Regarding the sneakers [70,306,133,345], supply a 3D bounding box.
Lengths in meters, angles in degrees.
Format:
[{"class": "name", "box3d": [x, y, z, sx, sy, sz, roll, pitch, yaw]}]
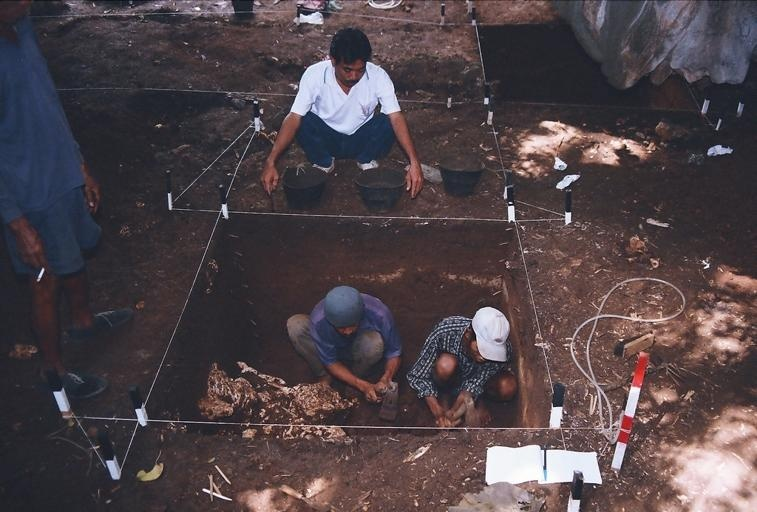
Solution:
[{"class": "sneakers", "box3d": [-2.542, 0.633, 6.220, 0.574, 0.204, 0.206, -26, 52, -34]}]

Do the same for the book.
[{"class": "book", "box3d": [1.334, 1.793, 5.627, 0.791, 0.064, 0.315, 1, 69, 4]}]

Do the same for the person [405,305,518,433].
[{"class": "person", "box3d": [0.870, 0.954, 6.240, 0.976, 1.154, 1.058, 17, 36, 6]}]

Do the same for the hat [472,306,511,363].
[{"class": "hat", "box3d": [1.023, 0.747, 6.048, 0.320, 0.491, 0.337, 0, 41, 3]}]

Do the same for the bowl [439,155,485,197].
[{"class": "bowl", "box3d": [0.933, -0.939, 7.473, 0.491, 0.323, 0.485, -1, 35, 0]}]

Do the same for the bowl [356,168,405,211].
[{"class": "bowl", "box3d": [0.022, -0.766, 7.283, 0.474, 0.274, 0.481, -1, 40, 1]}]

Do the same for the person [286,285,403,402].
[{"class": "person", "box3d": [-0.270, 0.739, 6.345, 1.132, 1.172, 0.670, 18, 44, 21]}]

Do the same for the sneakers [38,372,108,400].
[{"class": "sneakers", "box3d": [-2.563, 1.120, 5.767, 0.627, 0.291, 0.244, 1, 63, -16]}]

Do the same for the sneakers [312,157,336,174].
[{"class": "sneakers", "box3d": [-0.598, -1.039, 7.621, 0.324, 0.139, 0.119, 3, 65, -13]}]

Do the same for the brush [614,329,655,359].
[{"class": "brush", "box3d": [2.399, 0.796, 6.123, 0.473, 0.139, 0.173, -15, 42, -15]}]

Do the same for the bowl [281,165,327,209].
[{"class": "bowl", "box3d": [-0.796, -0.807, 7.308, 0.414, 0.350, 0.508, -2, 35, -4]}]

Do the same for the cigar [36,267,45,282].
[{"class": "cigar", "box3d": [-2.807, 0.153, 5.533, 0.026, 0.068, 0.112, 21, 67, 30]}]
